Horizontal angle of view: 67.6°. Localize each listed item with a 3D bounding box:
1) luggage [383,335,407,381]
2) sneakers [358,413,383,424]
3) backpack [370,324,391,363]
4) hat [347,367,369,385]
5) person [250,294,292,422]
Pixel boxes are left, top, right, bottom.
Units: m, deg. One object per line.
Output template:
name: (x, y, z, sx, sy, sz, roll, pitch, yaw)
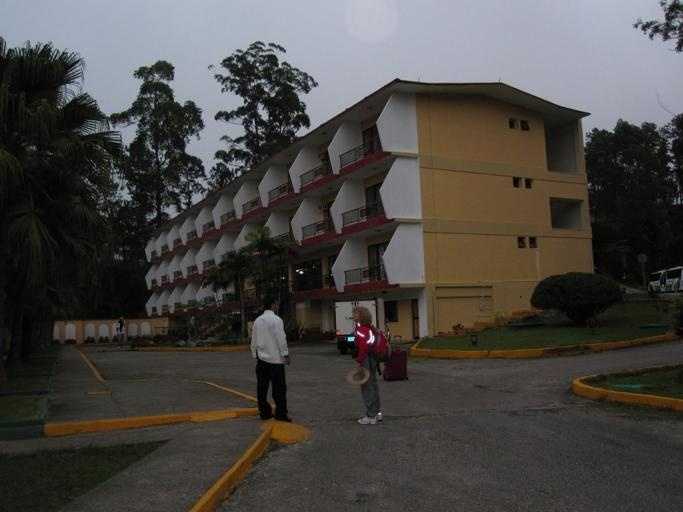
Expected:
luggage: (1.770, 3.207, 16.184, 0.747, 1.341, 0.761, -4, 11, -12)
sneakers: (0.586, 3.120, 9.720, 0.413, 0.228, 0.194, 3, -7, -17)
backpack: (0.809, 1.879, 10.445, 0.351, 0.779, 0.523, 0, -27, 11)
hat: (0.326, 2.286, 9.745, 0.408, 0.334, 0.231, -3, -8, 14)
person: (-1.339, 1.922, 9.650, 0.593, 2.338, 0.773, 4, -9, -35)
